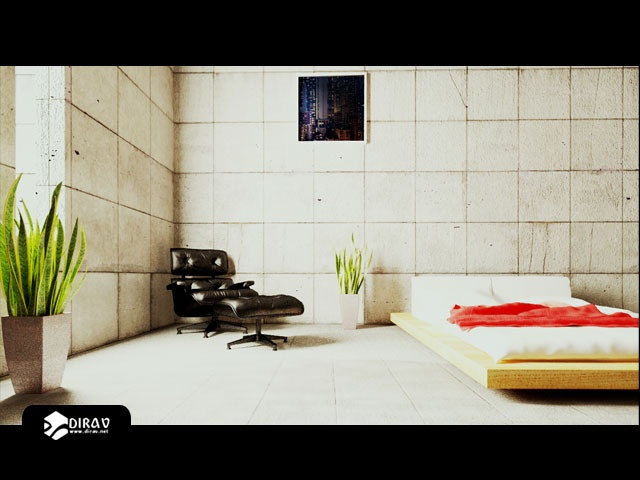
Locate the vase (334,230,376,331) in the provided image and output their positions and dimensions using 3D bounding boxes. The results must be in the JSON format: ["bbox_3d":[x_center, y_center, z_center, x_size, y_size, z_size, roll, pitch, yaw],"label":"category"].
[{"bbox_3d":[0.335,0.417,6.070,0.399,0.942,0.475,1,6,4],"label":"vase"}]

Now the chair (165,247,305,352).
[{"bbox_3d":[-0.823,0.503,5.465,0.815,0.916,1.356,3,-2,-40],"label":"chair"}]

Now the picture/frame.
[{"bbox_3d":[0.087,-1.431,6.383,0.775,0.781,0.058,3,10,18],"label":"picture/frame"}]
